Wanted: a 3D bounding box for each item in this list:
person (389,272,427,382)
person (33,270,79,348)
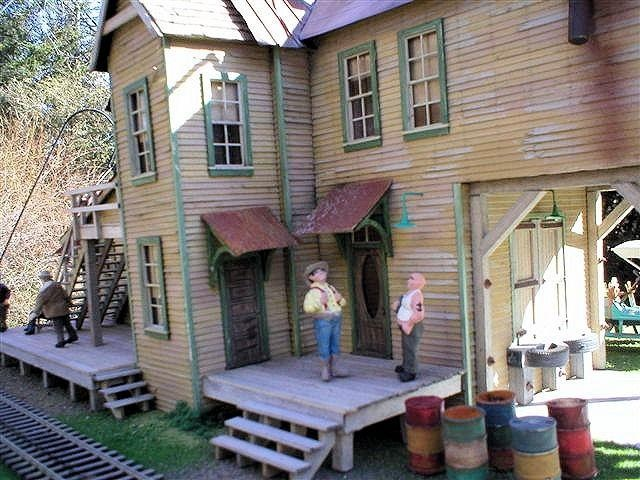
[{"bbox_3d":[1.618,1.586,11.491,0.544,1.967,0.481,1,6,23],"label":"person"},{"bbox_3d":[-6.593,1.714,15.633,0.865,1.912,0.610,-5,6,-34],"label":"person"}]
